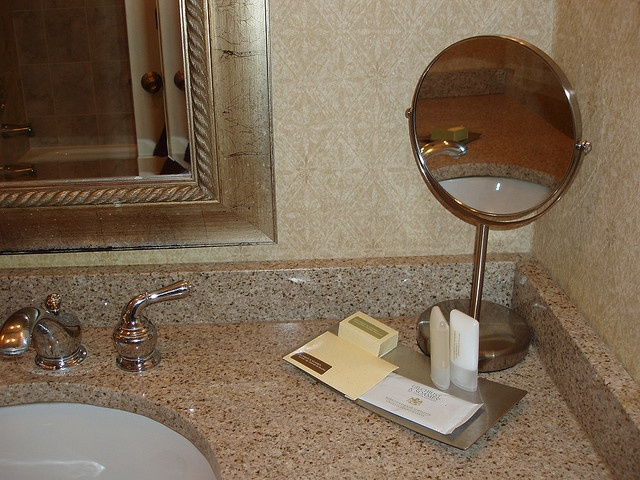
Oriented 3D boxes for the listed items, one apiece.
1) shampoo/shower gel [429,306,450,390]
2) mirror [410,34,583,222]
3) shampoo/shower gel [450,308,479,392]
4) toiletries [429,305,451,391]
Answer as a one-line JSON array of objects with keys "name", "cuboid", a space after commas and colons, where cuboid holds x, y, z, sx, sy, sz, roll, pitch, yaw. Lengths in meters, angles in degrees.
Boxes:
[{"name": "shampoo/shower gel", "cuboid": [0.209, 0.196, 0.979, 0.028, 0.166, 0.075, -6, 25, -7]}, {"name": "mirror", "cuboid": [0.328, -0.205, 1.012, 0.283, 0.343, 0.105, 2, 5, 19]}, {"name": "shampoo/shower gel", "cuboid": [0.251, 0.195, 0.971, 0.065, 0.137, 0.040, 12, 31, 19]}, {"name": "toiletries", "cuboid": [0.209, 0.197, 0.972, 0.041, 0.122, 0.067, 3, 26, 9]}]
